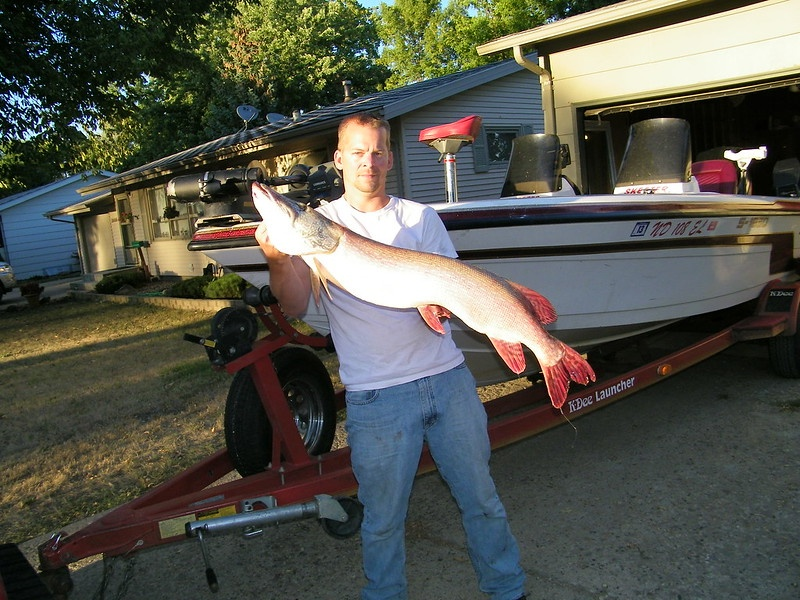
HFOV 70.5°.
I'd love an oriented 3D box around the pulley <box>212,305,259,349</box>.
[{"bbox_3d":[-0.986,0.163,3.364,0.272,0.255,0.222,-13,16,-18],"label":"pulley"}]
